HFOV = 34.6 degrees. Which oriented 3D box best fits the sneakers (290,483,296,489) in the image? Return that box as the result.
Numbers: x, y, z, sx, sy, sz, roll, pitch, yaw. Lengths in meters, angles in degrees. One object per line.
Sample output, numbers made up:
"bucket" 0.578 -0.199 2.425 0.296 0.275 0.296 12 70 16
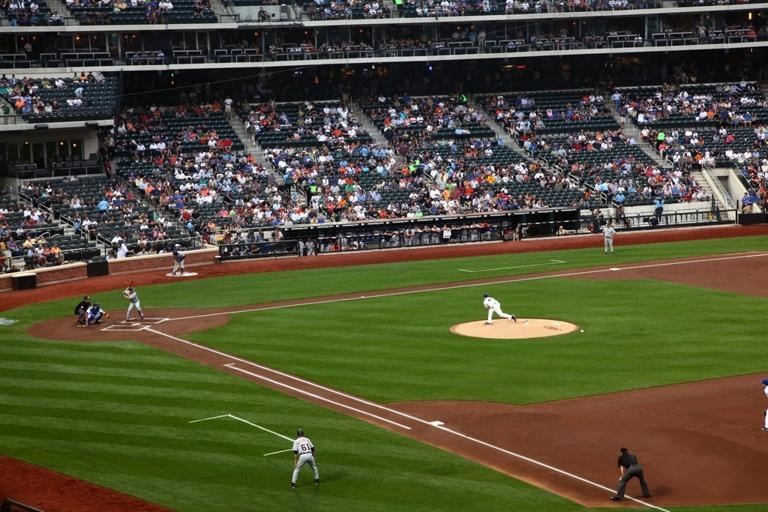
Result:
"sneakers" -3.572 8.768 47.544 0.282 0.162 0.100 1 8 23
